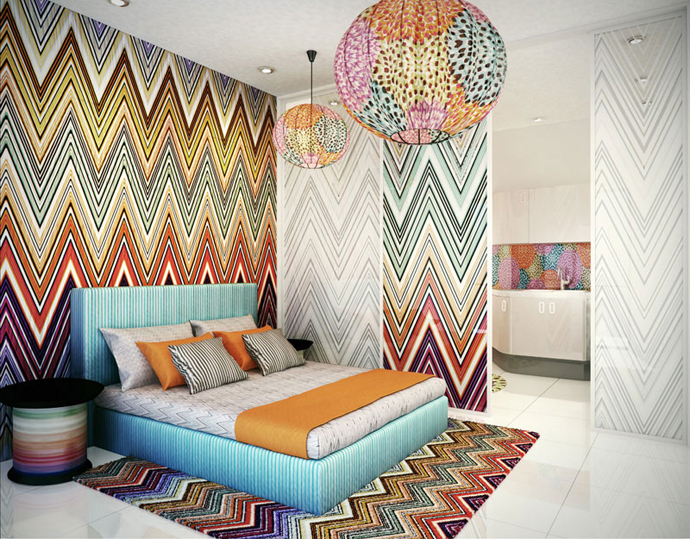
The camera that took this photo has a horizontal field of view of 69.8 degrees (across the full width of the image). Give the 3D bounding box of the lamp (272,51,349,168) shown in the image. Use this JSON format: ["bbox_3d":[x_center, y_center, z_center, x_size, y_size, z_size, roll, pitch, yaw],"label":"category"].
[{"bbox_3d":[-0.290,-1.189,3.995,0.544,0.964,0.532,-1,1,-12],"label":"lamp"}]

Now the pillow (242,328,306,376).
[{"bbox_3d":[-0.644,0.707,4.391,0.445,0.155,0.490,-7,43,-46],"label":"pillow"}]

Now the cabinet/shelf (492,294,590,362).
[{"bbox_3d":[2.595,0.474,6.329,1.146,0.888,0.676,-2,-3,36],"label":"cabinet/shelf"}]

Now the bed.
[{"bbox_3d":[-0.822,1.004,3.654,1.775,1.063,1.711,-1,0,33],"label":"bed"}]
